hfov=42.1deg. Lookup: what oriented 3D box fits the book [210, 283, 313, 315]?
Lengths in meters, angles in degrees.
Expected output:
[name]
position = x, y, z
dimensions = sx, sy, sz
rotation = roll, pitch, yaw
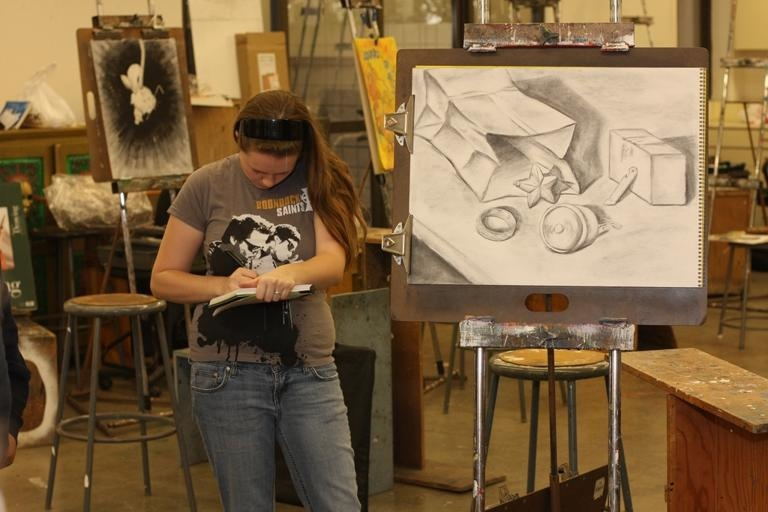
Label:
[book]
position = -0.446, 0.157, 3.610
dimensions = 0.387, 0.112, 0.167
rotation = -3, 9, -5
